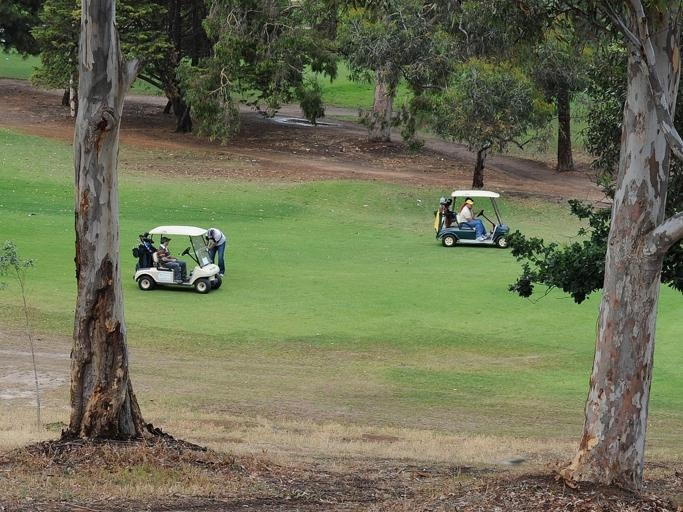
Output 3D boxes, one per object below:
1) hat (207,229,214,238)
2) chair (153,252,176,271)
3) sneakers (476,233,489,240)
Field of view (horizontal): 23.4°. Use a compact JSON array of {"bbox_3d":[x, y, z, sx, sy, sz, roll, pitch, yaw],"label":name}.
[{"bbox_3d":[-4.390,-0.631,55.210,0.206,0.407,0.540,2,14,-5],"label":"hat"},{"bbox_3d":[-5.789,0.259,53.918,0.660,0.592,0.504,-1,7,-3],"label":"chair"},{"bbox_3d":[5.324,-0.650,62.452,0.556,0.264,0.224,5,6,-10],"label":"sneakers"}]
